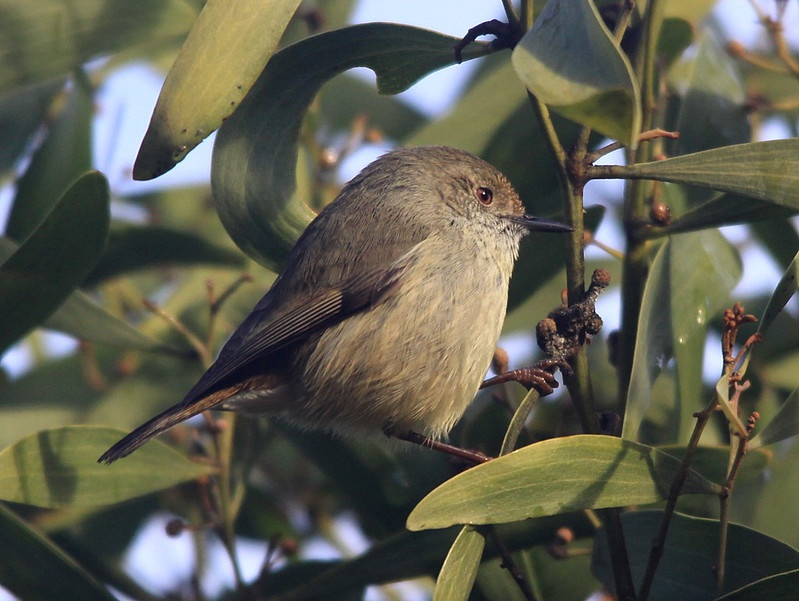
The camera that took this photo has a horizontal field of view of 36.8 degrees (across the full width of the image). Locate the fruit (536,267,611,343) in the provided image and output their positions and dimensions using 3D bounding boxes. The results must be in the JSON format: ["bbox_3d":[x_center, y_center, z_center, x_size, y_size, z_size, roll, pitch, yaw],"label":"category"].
[{"bbox_3d":[0.503,0.042,3.463,0.155,0.106,0.239,20,-35,-18],"label":"fruit"}]
